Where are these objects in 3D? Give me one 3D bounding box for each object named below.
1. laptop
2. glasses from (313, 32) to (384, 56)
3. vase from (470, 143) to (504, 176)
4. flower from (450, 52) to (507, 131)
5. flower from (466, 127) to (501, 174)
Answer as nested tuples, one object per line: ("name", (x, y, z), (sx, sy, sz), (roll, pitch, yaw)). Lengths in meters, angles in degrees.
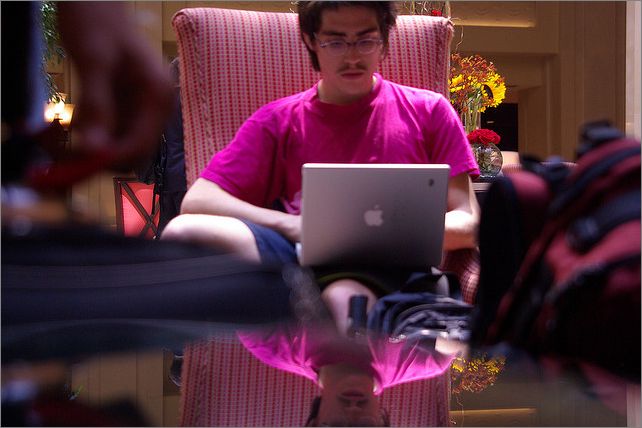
("laptop", (0.096, -0.007, 1.137), (0.249, 0.205, 0.199), (1, 16, -3))
("glasses", (0.066, -0.421, 1.390), (0.162, 0.048, 0.039), (4, 8, 7))
("vase", (0.761, -0.234, 2.476), (0.109, 0.117, 0.114), (-4, 46, 38))
("flower", (0.757, -0.550, 2.746), (0.232, 0.351, 0.299), (4, -12, 12))
("flower", (0.723, -0.275, 2.435), (0.171, 0.251, 0.185), (-2, 9, 15))
